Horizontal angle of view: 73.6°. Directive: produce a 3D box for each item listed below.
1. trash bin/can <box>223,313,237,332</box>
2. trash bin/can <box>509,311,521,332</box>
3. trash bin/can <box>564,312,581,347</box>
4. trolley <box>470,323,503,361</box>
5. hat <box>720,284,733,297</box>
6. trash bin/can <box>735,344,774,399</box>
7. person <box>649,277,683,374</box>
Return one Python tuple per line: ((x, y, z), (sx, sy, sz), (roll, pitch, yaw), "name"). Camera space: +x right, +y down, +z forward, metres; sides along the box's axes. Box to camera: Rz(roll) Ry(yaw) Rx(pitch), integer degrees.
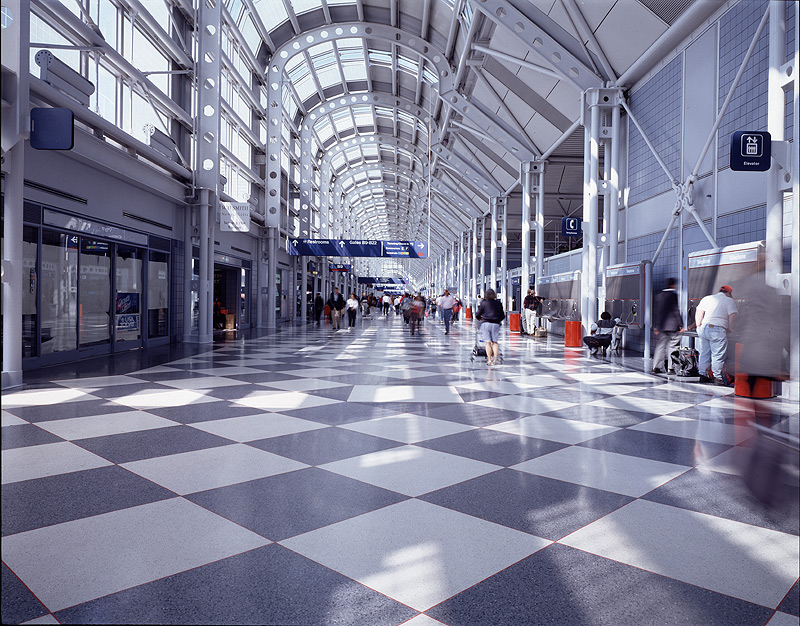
((-6.465, 0.327, 20.248), (0.521, 1.097, 0.530), (0, 0, -28), "trash bin/can")
((4.718, 0.355, 21.934), (0.587, 1.118, 0.664), (-1, -5, 10), "trash bin/can")
((4.769, 0.576, 14.649), (0.439, 0.701, 0.614), (2, 4, 21), "trash bin/can")
((1.972, 0.678, 12.137), (0.501, 0.902, 0.739), (1, -21, 1), "trolley")
((4.968, -0.337, 8.142), (0.137, 0.182, 0.190), (8, 15, 6), "hat")
((4.953, 0.809, 7.429), (0.480, 0.659, 0.677), (3, 4, 34), "trash bin/can")
((4.956, 0.200, 9.905), (0.427, 1.708, 1.331), (2, 4, 25), "person")
